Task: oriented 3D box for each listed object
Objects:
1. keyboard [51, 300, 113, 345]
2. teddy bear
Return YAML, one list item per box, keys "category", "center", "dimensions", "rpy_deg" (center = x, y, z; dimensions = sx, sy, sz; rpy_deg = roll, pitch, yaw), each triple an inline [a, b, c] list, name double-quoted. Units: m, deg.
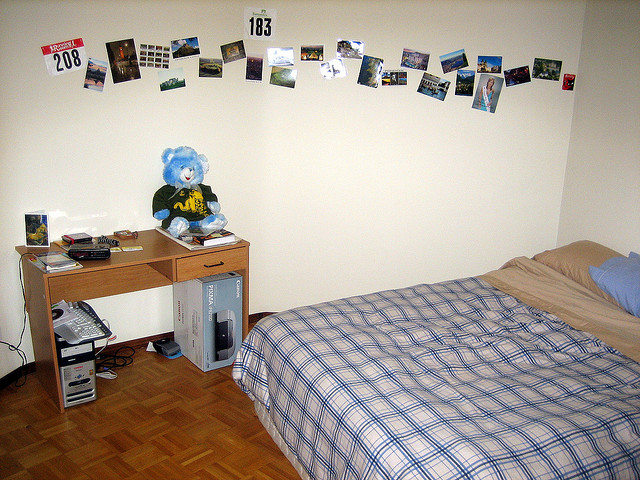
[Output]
- category: "keyboard"
  center: [-1.450, 0.471, 2.666]
  dimensions: [0.372, 0.087, 0.289]
  rpy_deg: [25, 20, 14]
- category: "teddy bear"
  center: [-0.872, -0.328, 3.116]
  dimensions: [0.515, 0.543, 0.474]
  rpy_deg: [3, 22, -21]
